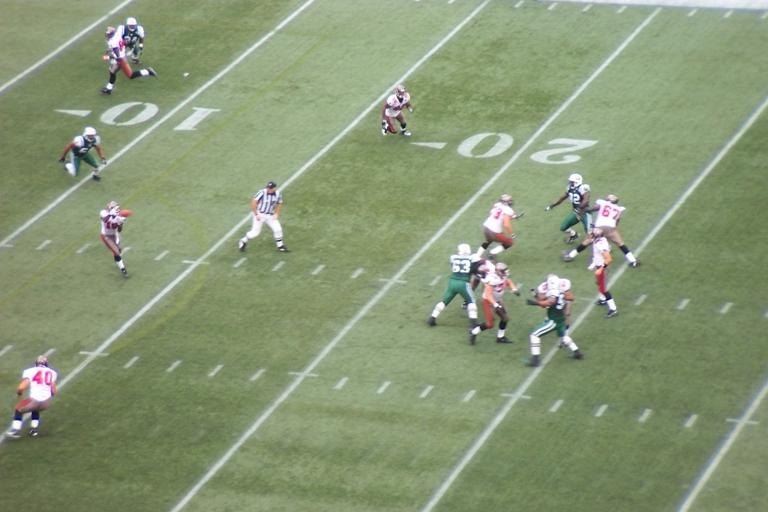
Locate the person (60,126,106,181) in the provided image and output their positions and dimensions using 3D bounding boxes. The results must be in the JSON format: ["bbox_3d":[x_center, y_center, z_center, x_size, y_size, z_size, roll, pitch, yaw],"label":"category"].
[{"bbox_3d":[-8.565,-2.918,39.219,1.275,1.449,0.614,5,24,-4],"label":"person"}]

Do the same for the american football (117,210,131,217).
[{"bbox_3d":[-6.716,-1.130,35.818,0.254,0.120,0.250,8,8,34],"label":"american football"}]

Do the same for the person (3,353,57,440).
[{"bbox_3d":[-8.567,3.318,32.962,1.264,1.824,1.179,2,4,24],"label":"person"}]

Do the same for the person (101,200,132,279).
[{"bbox_3d":[-7.010,-0.454,36.249,0.866,1.871,1.200,-10,34,-21],"label":"person"}]
